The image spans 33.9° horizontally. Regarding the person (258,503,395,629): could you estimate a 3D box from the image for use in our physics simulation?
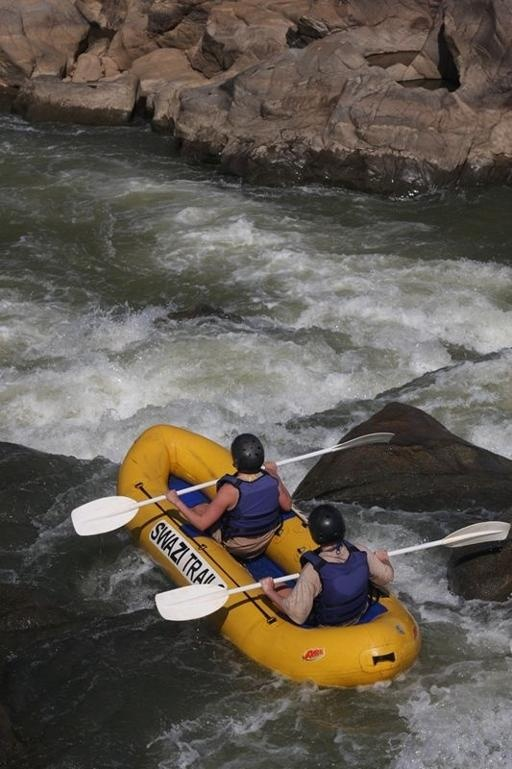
[{"bbox_3d":[0.460,1.025,4.630,0.641,0.809,0.347,-2,14,-22],"label":"person"}]

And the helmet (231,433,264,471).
[{"bbox_3d":[-0.074,0.412,5.012,0.189,0.211,0.213,-5,71,-13],"label":"helmet"}]

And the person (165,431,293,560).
[{"bbox_3d":[-0.204,0.743,5.415,0.527,0.710,0.415,-32,64,-23],"label":"person"}]

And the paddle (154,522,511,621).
[{"bbox_3d":[0.413,1.130,5.010,2.278,0.078,0.275,-12,34,-1],"label":"paddle"}]

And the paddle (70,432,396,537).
[{"bbox_3d":[-0.125,0.711,5.811,2.712,0.106,0.306,-10,51,-11],"label":"paddle"}]
